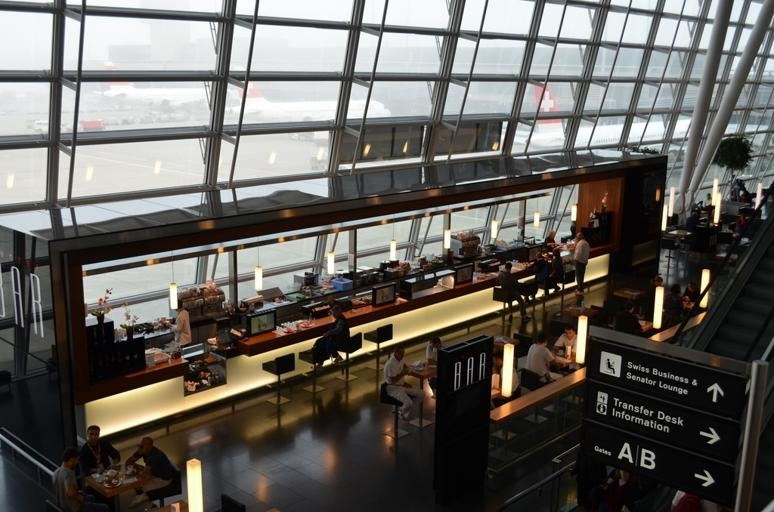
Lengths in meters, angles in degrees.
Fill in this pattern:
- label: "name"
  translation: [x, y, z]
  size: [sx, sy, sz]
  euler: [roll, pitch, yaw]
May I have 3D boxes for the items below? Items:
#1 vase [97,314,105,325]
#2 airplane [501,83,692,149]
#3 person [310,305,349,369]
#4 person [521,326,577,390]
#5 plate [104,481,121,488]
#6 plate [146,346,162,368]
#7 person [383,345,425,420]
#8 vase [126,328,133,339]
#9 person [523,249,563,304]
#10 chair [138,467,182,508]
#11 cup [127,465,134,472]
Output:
- label: "vase"
  translation: [-4.863, 1.042, 9.407]
  size: [0.105, 0.185, 0.190]
  euler: [-12, 15, -27]
- label: "airplane"
  translation: [7.347, -4.671, 20.695]
  size: [4.242, 1.177, 3.837]
  euler: [-17, 20, -41]
- label: "person"
  translation: [-1.199, 1.677, 11.609]
  size: [0.815, 1.163, 0.358]
  euler: [-6, 14, -6]
- label: "person"
  translation: [3.141, 1.936, 10.921]
  size: [0.646, 0.988, 1.366]
  euler: [6, 16, 37]
- label: "plate"
  translation: [-3.940, 3.227, 7.987]
  size: [0.168, 0.043, 0.152]
  euler: [4, 14, 35]
- label: "plate"
  translation: [-4.207, 1.804, 9.991]
  size: [0.279, 0.247, 0.313]
  euler: [3, 1, 20]
- label: "person"
  translation: [0.293, 2.338, 10.439]
  size: [0.511, 1.487, 0.614]
  euler: [8, 20, 44]
- label: "vase"
  translation: [-4.523, 1.336, 9.744]
  size: [0.083, 0.188, 0.130]
  euler: [-3, 13, 8]
- label: "person"
  translation: [4.498, 0.592, 16.076]
  size: [1.620, 0.657, 0.838]
  euler: [-21, 33, -34]
- label: "chair"
  translation: [-3.378, 3.457, 8.381]
  size: [0.637, 0.543, 0.593]
  euler: [1, 11, -33]
- label: "cup"
  translation: [-3.798, 3.097, 8.210]
  size: [0.093, 0.083, 0.086]
  euler: [1, 22, -1]
